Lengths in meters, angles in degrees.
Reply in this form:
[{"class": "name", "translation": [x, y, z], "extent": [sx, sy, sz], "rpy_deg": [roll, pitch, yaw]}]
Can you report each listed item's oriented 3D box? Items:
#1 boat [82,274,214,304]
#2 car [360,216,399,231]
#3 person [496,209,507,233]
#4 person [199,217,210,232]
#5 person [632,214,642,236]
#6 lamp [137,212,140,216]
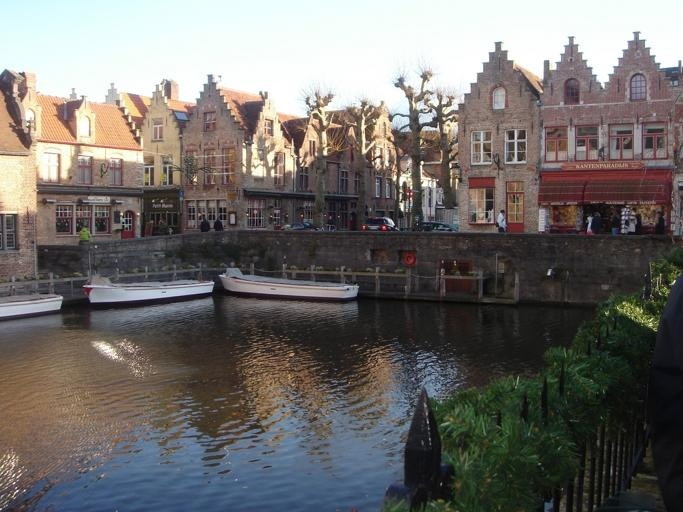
[{"class": "boat", "translation": [-10.031, 1.873, 42.279], "extent": [1.961, 1.471, 6.074], "rpy_deg": [-1, -2, 44]}, {"class": "car", "translation": [2.646, -2.273, 56.109], "extent": [1.007, 0.950, 2.227], "rpy_deg": [1, 5, 21]}, {"class": "person", "translation": [9.286, -2.105, 47.290], "extent": [0.604, 1.261, 1.823], "rpy_deg": [2, 7, 10]}, {"class": "person", "translation": [-8.887, -1.970, 52.202], "extent": [0.505, 0.740, 1.779], "rpy_deg": [-1, 7, -14]}, {"class": "person", "translation": [15.292, -1.720, 42.016], "extent": [0.251, 1.048, 2.005], "rpy_deg": [2, 7, 16]}, {"class": "lamp", "translation": [-13.957, -2.929, 55.263], "extent": [0.155, 0.181, 0.063], "rpy_deg": [0, -32, -27]}]
